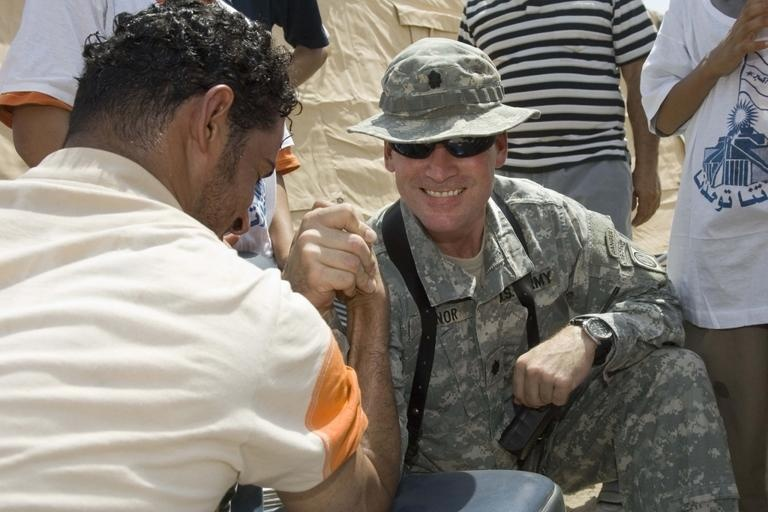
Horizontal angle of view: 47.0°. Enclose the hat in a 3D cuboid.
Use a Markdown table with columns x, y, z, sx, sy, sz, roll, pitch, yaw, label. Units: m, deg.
| x | y | z | sx | sy | sz | roll | pitch | yaw | label |
| --- | --- | --- | --- | --- | --- | --- | --- | --- | --- |
| 0.236 | -0.646 | 3.541 | 0.529 | 0.259 | 0.537 | -6 | 7 | -12 | hat |
